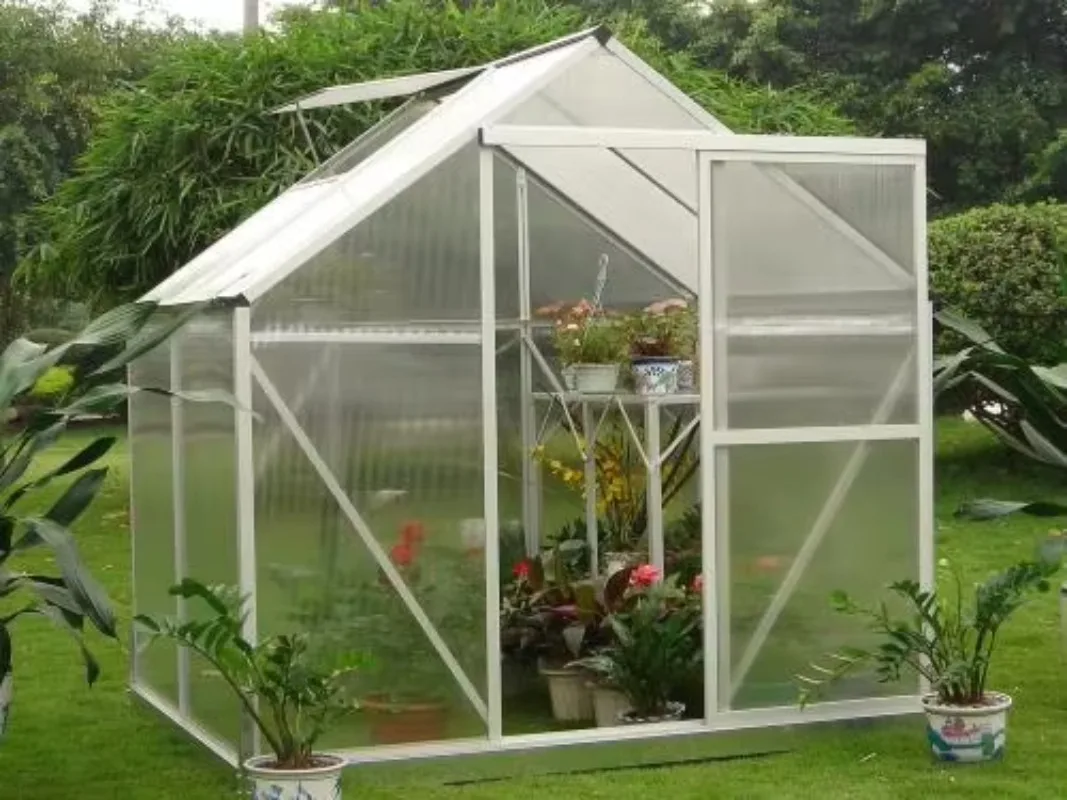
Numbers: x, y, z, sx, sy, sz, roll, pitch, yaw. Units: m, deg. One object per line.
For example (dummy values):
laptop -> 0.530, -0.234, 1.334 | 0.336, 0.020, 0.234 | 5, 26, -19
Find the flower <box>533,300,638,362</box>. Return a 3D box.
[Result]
flower -> 0.352, -0.375, 7.429 | 0.405, 0.348, 0.473 | 3, 3, 39

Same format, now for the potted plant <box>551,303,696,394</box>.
potted plant -> 0.550, -0.298, 7.348 | 0.844, 0.582, 0.519 | -4, -5, 36
